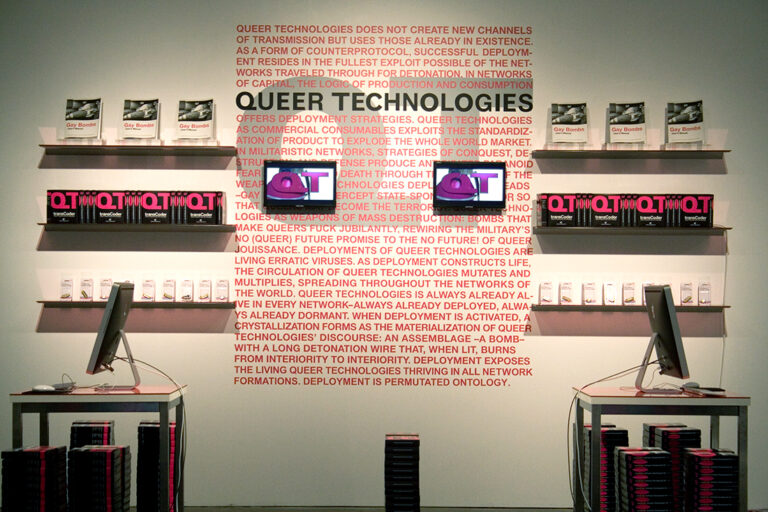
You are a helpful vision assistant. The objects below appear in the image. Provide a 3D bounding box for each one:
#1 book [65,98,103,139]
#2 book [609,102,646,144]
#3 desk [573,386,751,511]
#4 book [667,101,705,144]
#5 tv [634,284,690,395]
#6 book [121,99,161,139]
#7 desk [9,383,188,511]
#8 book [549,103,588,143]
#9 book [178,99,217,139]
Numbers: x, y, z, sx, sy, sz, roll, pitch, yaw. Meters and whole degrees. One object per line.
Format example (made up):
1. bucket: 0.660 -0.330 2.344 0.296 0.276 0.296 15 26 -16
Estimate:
1. book: -2.623 -1.190 8.995 0.362 0.406 0.053 1 -7 0
2. book: 2.117 -1.151 9.003 0.370 0.389 0.055 0 -9 5
3. desk: 2.259 1.699 8.646 1.196 1.127 1.143 0 -10 0
4. book: 2.621 -1.151 8.986 0.383 0.414 0.047 0 -9 5
5. tv: 2.263 0.669 8.473 0.428 0.879 0.381 -3 -6 32
6. book: -2.124 -1.193 9.008 0.357 0.398 0.130 0 -5 -2
7. desk: -2.327 1.692 8.652 1.343 1.215 0.981 0 -8 0
8. book: 1.611 -1.154 8.987 0.365 0.368 0.043 0 -5 1
9. book: -1.648 -1.192 9.002 0.360 0.345 0.126 0 -5 -3
